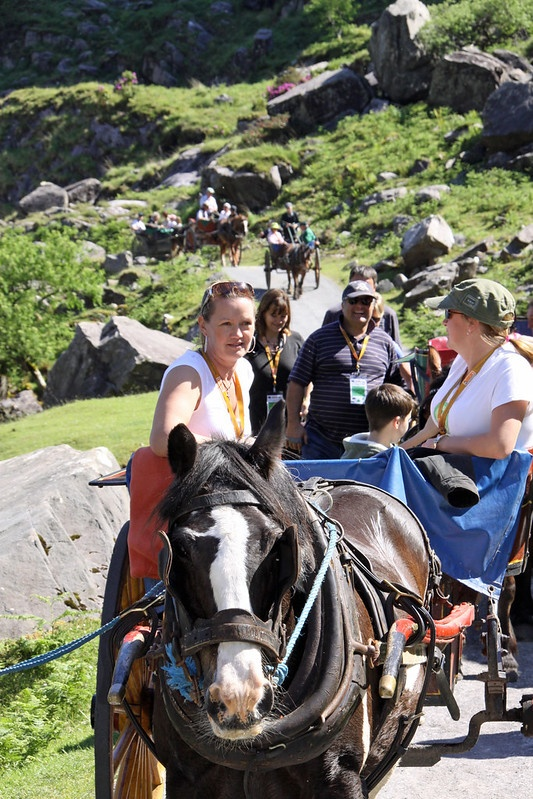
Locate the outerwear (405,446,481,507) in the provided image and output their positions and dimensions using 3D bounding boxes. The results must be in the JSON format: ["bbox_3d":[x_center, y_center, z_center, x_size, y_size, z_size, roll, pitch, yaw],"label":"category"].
[{"bbox_3d":[0.902,0.397,5.564,0.290,0.109,0.273,19,18,-33],"label":"outerwear"}]

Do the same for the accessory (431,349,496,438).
[{"bbox_3d":[1.019,-0.035,5.991,0.113,0.410,0.330,25,6,6],"label":"accessory"}]

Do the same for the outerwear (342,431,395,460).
[{"bbox_3d":[0.552,0.252,6.049,0.188,0.090,0.167,0,1,-29],"label":"outerwear"}]

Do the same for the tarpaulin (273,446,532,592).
[{"bbox_3d":[0.756,0.559,5.711,1.058,0.516,0.770,-2,4,-2],"label":"tarpaulin"}]

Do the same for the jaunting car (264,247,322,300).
[{"bbox_3d":[0.572,-2.634,23.203,1.181,1.291,2.215,-1,6,-5],"label":"jaunting car"}]

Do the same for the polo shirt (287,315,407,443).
[{"bbox_3d":[0.575,-0.083,7.670,0.923,0.915,0.432,2,2,-10],"label":"polo shirt"}]

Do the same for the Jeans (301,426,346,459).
[{"bbox_3d":[0.381,0.308,7.505,0.217,0.352,0.275,3,-1,-10],"label":"Jeans"}]

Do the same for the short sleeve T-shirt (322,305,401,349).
[{"bbox_3d":[0.758,-0.489,8.747,0.713,0.472,0.362,1,-11,-1],"label":"short sleeve T-shirt"}]

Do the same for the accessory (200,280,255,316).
[{"bbox_3d":[-0.206,-0.446,5.082,0.199,0.180,0.057,0,8,-16],"label":"accessory"}]

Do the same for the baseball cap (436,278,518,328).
[{"bbox_3d":[1.050,-0.478,5.892,0.463,0.203,0.322,14,-6,8],"label":"baseball cap"}]

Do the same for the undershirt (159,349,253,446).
[{"bbox_3d":[-0.317,0.058,4.997,0.399,0.378,0.218,-24,-29,-17],"label":"undershirt"}]

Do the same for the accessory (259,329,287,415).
[{"bbox_3d":[0.050,-0.151,8.305,0.235,0.651,0.063,2,10,26],"label":"accessory"}]
